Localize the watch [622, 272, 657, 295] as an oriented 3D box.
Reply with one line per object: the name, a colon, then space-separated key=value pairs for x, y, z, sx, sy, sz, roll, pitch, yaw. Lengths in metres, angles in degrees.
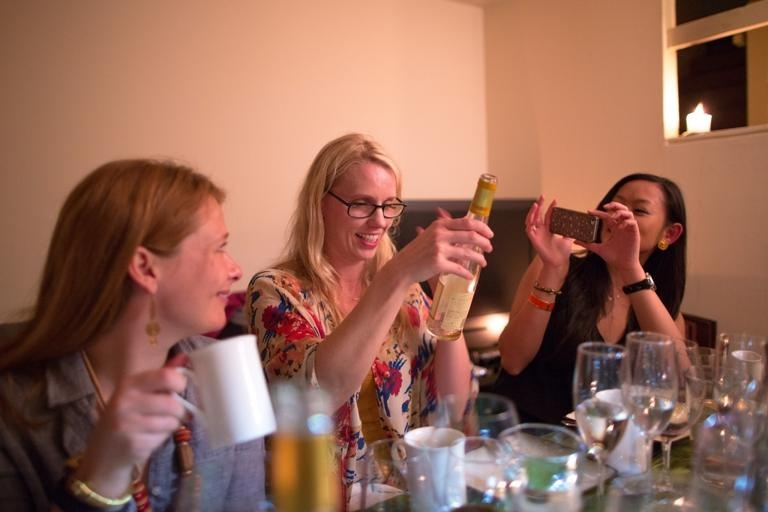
watch: x=1.040 y=0.106 z=2.222 sx=0.099 sy=0.096 sz=0.097 roll=0 pitch=4 yaw=-40

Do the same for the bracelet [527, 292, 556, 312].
bracelet: x=0.653 y=0.197 z=2.249 sx=0.082 sy=0.032 sz=0.085 roll=27 pitch=3 yaw=14

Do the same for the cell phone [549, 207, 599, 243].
cell phone: x=0.758 y=-0.122 z=2.189 sx=0.179 sy=0.149 sz=0.119 roll=1 pitch=3 yaw=15

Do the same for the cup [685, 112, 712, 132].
cup: x=1.702 y=-0.718 z=2.939 sx=0.124 sy=0.085 sz=0.112 roll=-1 pitch=2 yaw=11
